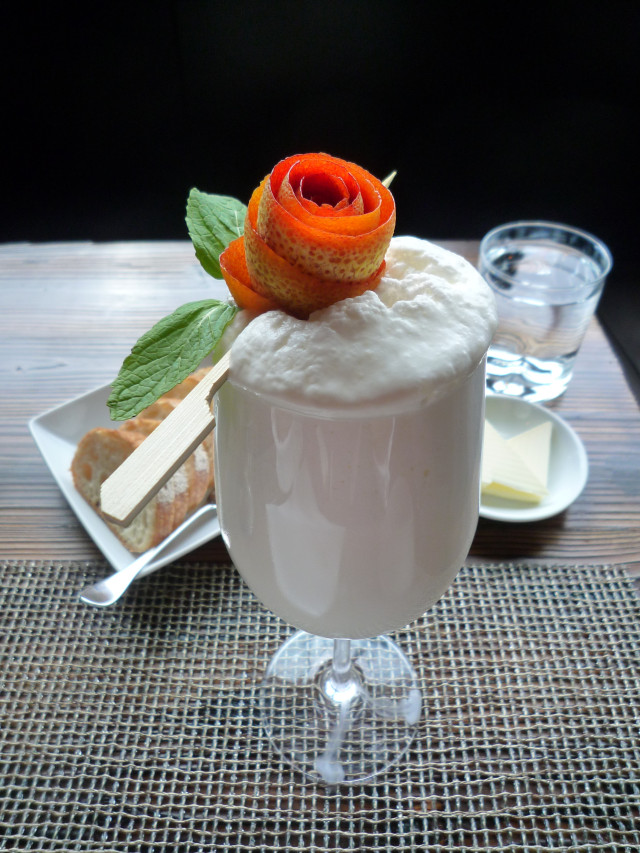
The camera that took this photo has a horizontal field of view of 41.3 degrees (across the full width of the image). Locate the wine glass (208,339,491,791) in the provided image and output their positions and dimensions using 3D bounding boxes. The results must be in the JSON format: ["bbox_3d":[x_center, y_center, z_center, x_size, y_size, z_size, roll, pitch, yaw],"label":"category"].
[{"bbox_3d":[0.013,0.091,0.511,0.136,0.345,0.138,28,52,24],"label":"wine glass"}]

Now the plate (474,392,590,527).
[{"bbox_3d":[0.203,0.031,0.806,0.129,0.028,0.115,-4,43,-2],"label":"plate"}]

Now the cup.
[{"bbox_3d":[0.215,-0.127,0.992,0.201,0.242,0.188,0,32,0],"label":"cup"}]
